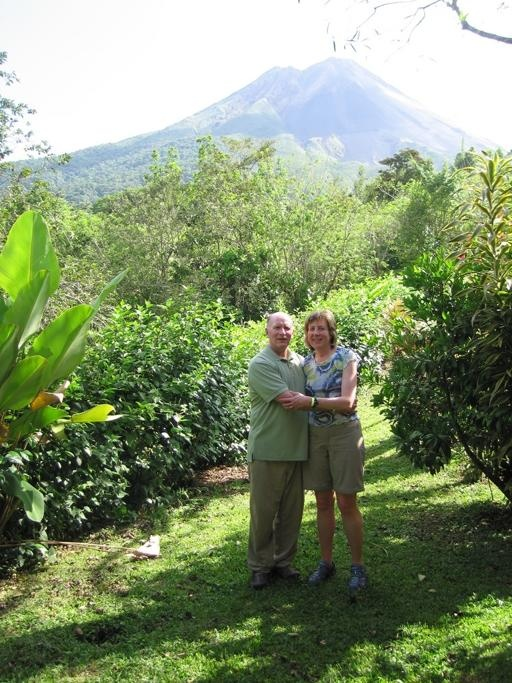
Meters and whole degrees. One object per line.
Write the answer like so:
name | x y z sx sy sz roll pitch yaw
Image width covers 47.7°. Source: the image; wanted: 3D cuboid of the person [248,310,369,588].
person | 0.270 0.654 3.587 0.789 1.673 0.492 -6 5 9

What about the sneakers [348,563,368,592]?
sneakers | 0.592 1.399 3.420 0.088 0.122 0.123 -4 5 21

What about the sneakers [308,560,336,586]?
sneakers | 0.406 1.436 3.599 0.074 0.084 0.207 -5 1 43

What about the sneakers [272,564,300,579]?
sneakers | 0.192 1.457 3.698 0.184 0.112 0.067 -3 1 9
